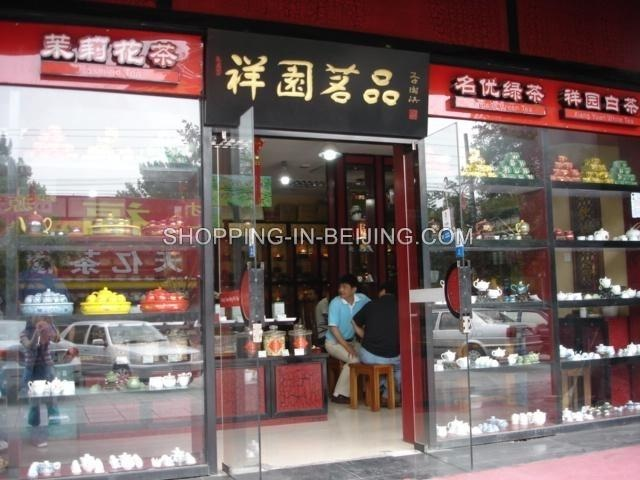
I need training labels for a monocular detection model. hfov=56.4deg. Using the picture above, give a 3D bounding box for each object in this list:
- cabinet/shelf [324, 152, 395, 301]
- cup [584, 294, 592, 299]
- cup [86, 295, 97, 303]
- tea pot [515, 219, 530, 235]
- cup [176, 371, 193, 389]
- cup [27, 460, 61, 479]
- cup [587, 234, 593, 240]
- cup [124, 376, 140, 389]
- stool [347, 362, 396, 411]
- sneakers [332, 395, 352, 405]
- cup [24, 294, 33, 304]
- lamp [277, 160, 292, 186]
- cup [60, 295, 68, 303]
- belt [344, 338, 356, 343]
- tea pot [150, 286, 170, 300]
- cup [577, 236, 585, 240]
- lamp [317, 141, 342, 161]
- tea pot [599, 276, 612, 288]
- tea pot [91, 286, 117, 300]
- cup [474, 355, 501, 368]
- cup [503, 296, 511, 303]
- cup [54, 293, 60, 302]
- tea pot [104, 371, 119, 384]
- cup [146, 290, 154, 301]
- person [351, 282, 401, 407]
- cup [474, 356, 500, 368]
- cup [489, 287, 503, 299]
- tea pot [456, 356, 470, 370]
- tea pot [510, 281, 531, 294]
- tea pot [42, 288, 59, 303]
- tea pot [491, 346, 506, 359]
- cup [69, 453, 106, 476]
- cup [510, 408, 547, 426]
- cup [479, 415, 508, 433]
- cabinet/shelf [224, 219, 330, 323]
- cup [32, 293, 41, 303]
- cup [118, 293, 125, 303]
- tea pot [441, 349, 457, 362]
[{"bbox_3d":[0.712,-0.090,9.044,0.892,2.257,0.261,-1,0,32],"label":"cabinet/shelf"},{"bbox_3d":[2.535,0.533,5.655,0.047,0.039,0.046,-1,-1,0],"label":"cup"},{"bbox_3d":[-1.710,0.437,4.456,0.062,0.044,0.061,2,-5,0],"label":"cup"},{"bbox_3d":[1.817,-0.106,5.403,0.118,0.155,0.066,-6,-8,-19],"label":"tea pot"},{"bbox_3d":[-1.048,1.064,4.583,0.096,0.079,0.116,-1,-15,4],"label":"cup"},{"bbox_3d":[-1.962,1.624,4.256,0.229,0.107,0.089,5,-7,-25],"label":"cup"},{"bbox_3d":[2.581,-0.020,5.722,0.047,0.041,0.046,1,3,0],"label":"cup"},{"bbox_3d":[-1.413,1.065,4.505,0.091,0.083,0.090,-2,-1,0],"label":"cup"},{"bbox_3d":[0.608,1.595,6.656,0.518,0.500,0.508,8,-11,-37],"label":"stool"},{"bbox_3d":[0.238,1.844,6.918,0.232,0.155,0.078,-3,-6,19],"label":"sneakers"},{"bbox_3d":[-2.112,0.430,4.320,0.055,0.052,0.056,2,-5,0],"label":"cup"},{"bbox_3d":[-0.592,-1.120,9.835,0.254,0.528,0.234,1,-29,-2],"label":"lamp"},{"bbox_3d":[-1.892,0.435,4.407,0.055,0.050,0.052,1,1,0],"label":"cup"},{"bbox_3d":[0.357,1.183,7.038,0.072,0.033,0.099,-1,-2,28],"label":"belt"},{"bbox_3d":[-1.244,0.406,4.581,0.103,0.059,0.101,1,-2,0],"label":"tea pot"},{"bbox_3d":[2.478,-0.014,5.668,0.045,0.031,0.045,-1,-6,0],"label":"cup"},{"bbox_3d":[0.136,-1.202,8.067,0.238,0.251,0.247,1,-8,-2],"label":"lamp"},{"bbox_3d":[2.755,0.408,5.770,0.113,0.079,0.091,-3,-5,25],"label":"tea pot"},{"bbox_3d":[-1.648,0.405,4.508,0.149,0.080,0.089,1,-1,-24],"label":"tea pot"},{"bbox_3d":[1.392,1.022,5.027,0.129,0.059,0.166,0,-1,8],"label":"cup"},{"bbox_3d":[1.613,0.511,5.157,0.059,0.041,0.058,1,-3,0],"label":"cup"},{"bbox_3d":[-1.939,0.425,4.383,0.056,0.056,0.056,0,-5,0],"label":"cup"},{"bbox_3d":[-1.554,1.022,4.452,0.089,0.085,0.086,2,-3,0],"label":"tea pot"},{"bbox_3d":[-1.306,0.412,4.571,0.044,0.061,0.063,7,-13,-32],"label":"cup"},{"bbox_3d":[0.590,1.138,6.881,0.779,1.321,0.751,-1,0,-19],"label":"person"},{"bbox_3d":[1.392,1.023,5.027,0.122,0.056,0.156,0,-1,11],"label":"cup"},{"bbox_3d":[1.488,0.452,5.087,0.114,0.101,0.085,2,-6,5],"label":"cup"},{"bbox_3d":[1.117,0.948,4.659,0.096,0.173,0.096,7,-5,1],"label":"tea pot"},{"bbox_3d":[1.756,0.420,5.256,0.172,0.113,0.108,-1,-1,0],"label":"tea pot"},{"bbox_3d":[-1.977,0.408,4.370,0.099,0.092,0.097,-1,-6,0],"label":"tea pot"},{"bbox_3d":[1.518,0.961,5.097,0.122,0.086,0.081,-3,0,-1],"label":"tea pot"},{"bbox_3d":[-1.687,1.623,4.319,0.155,0.064,0.152,0,-3,0],"label":"cup"},{"bbox_3d":[1.815,1.538,5.202,0.279,0.115,0.160,-1,-1,-29],"label":"cup"},{"bbox_3d":[1.463,1.526,5.037,0.194,0.065,0.147,3,-8,-37],"label":"cup"},{"bbox_3d":[-0.822,0.676,11.401,1.784,1.597,0.616,-2,3,27],"label":"cabinet/shelf"},{"bbox_3d":[-2.058,0.420,4.337,0.078,0.098,0.054,2,-9,-20],"label":"cup"},{"bbox_3d":[-1.497,0.447,4.512,0.047,0.043,0.047,-1,-1,0],"label":"cup"},{"bbox_3d":[1.038,0.938,4.830,0.112,0.073,0.072,-5,-1,0],"label":"tea pot"}]
